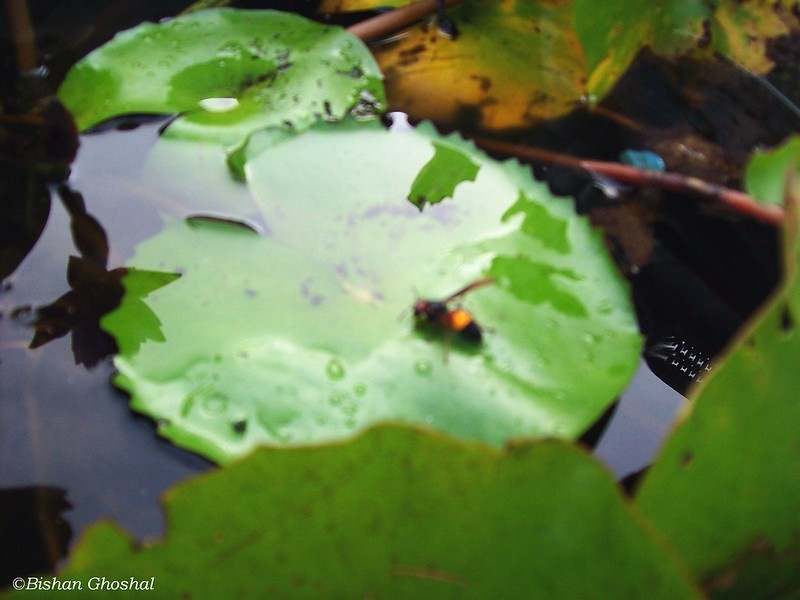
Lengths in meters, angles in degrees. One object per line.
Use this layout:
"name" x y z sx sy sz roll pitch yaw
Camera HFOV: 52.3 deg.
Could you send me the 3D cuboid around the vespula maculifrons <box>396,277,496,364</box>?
"vespula maculifrons" 0.084 0.031 1.343 0.145 0.080 0.158 19 14 32
